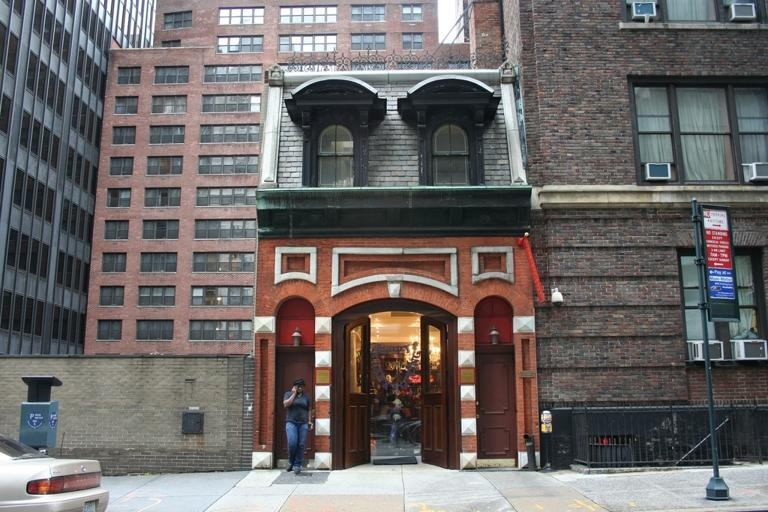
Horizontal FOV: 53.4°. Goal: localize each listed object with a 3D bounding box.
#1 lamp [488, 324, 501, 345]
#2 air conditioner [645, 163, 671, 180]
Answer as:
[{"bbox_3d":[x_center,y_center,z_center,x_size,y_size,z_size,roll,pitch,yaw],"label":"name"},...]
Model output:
[{"bbox_3d":[3.463,2.465,23.966,0.330,0.551,0.271,-2,9,5],"label":"lamp"},{"bbox_3d":[8.744,-2.673,24.366,0.884,0.610,0.500,1,-8,6],"label":"air conditioner"}]
